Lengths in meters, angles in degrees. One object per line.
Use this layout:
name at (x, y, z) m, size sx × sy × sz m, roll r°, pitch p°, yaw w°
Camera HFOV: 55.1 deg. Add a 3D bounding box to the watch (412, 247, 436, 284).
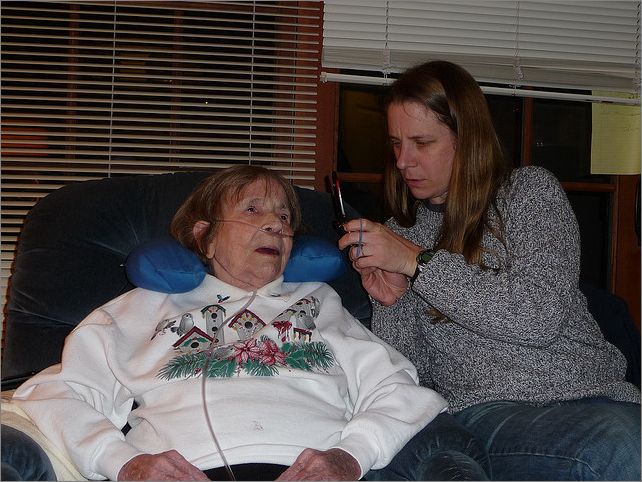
watch at (0.333, 0.079, 1.968) m, size 0.073 × 0.090 × 0.103 m, roll 1°, pitch 10°, yaw 31°
